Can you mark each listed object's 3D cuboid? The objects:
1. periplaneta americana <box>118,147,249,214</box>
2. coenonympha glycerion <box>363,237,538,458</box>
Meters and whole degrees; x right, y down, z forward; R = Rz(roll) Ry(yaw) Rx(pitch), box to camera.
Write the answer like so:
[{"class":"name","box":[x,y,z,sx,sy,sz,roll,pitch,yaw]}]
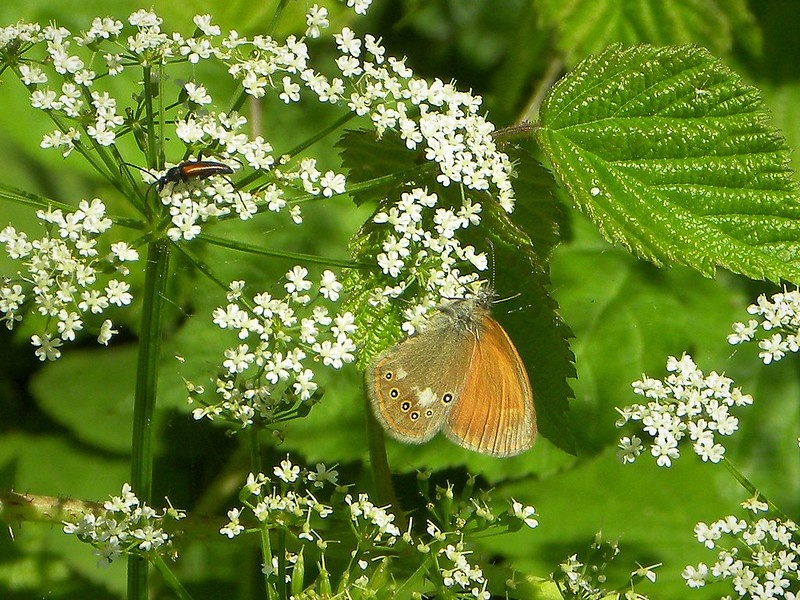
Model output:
[{"class":"periplaneta americana","box":[-1.004,-0.583,4.477,0.559,0.221,0.183,8,31,-3]},{"class":"coenonympha glycerion","box":[0.264,0.446,4.924,1.113,0.988,0.490,15,23,-25]}]
